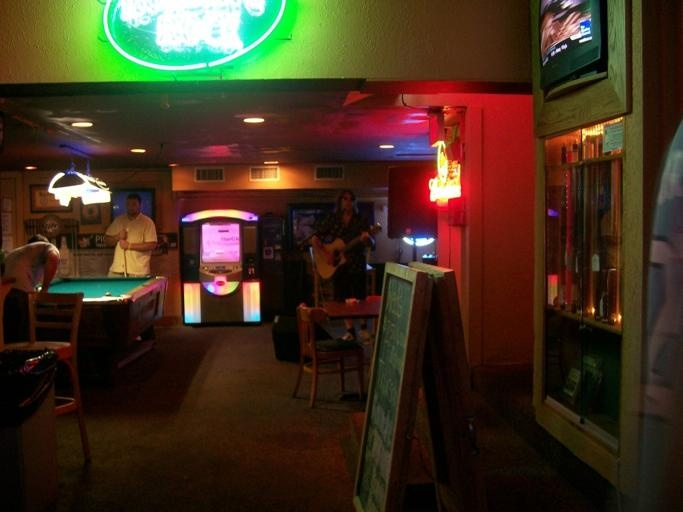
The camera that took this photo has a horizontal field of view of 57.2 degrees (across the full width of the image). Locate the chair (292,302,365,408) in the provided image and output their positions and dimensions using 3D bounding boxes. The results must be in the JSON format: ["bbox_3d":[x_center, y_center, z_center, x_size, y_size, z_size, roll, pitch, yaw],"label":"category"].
[{"bbox_3d":[-0.126,0.866,5.662,0.668,0.856,0.685,-2,-1,21],"label":"chair"}]

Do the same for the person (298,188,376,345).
[{"bbox_3d":[0.034,0.101,7.401,0.767,1.725,0.627,-4,6,2],"label":"person"}]

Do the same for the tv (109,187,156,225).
[{"bbox_3d":[-2.958,-0.724,8.863,0.531,0.433,0.057,0,-4,-2],"label":"tv"}]

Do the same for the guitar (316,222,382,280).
[{"bbox_3d":[0.019,-0.081,7.359,0.894,0.477,0.131,-31,-10,22],"label":"guitar"}]

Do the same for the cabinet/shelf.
[{"bbox_3d":[1.401,0.207,3.514,0.312,1.894,0.897,-2,5,-6],"label":"cabinet/shelf"}]

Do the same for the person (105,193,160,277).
[{"bbox_3d":[-2.788,-0.260,8.231,0.620,1.096,0.730,-3,5,-21],"label":"person"}]

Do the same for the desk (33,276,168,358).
[{"bbox_3d":[-2.730,0.576,6.760,1.320,0.559,1.882,1,5,-6],"label":"desk"}]
